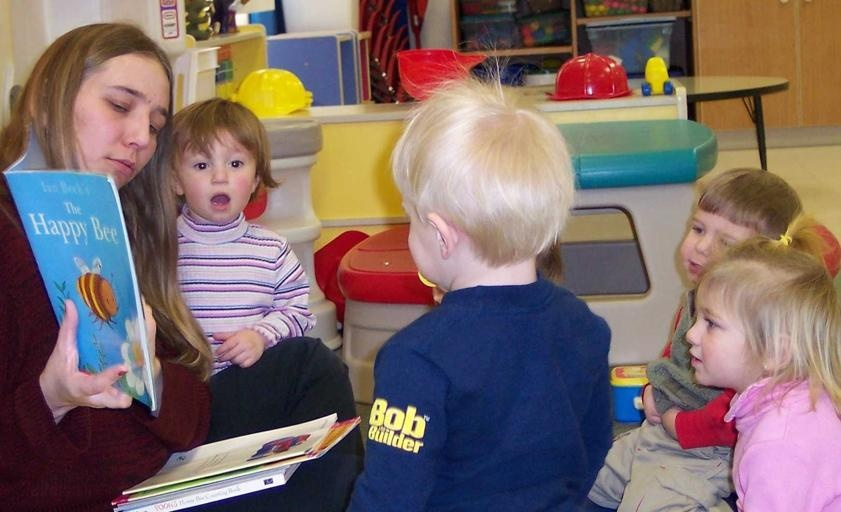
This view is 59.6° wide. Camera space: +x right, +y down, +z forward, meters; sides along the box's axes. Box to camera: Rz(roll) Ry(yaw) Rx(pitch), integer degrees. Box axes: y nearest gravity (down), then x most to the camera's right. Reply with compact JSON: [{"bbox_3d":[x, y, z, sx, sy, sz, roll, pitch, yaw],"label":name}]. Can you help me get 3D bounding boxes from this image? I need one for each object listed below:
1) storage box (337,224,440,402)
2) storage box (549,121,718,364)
[{"bbox_3d":[-0.053,0.255,2.556,0.417,0.427,0.505,-1,1,5],"label":"storage box"},{"bbox_3d":[0.695,-0.082,2.643,0.893,0.714,0.746,0,9,4],"label":"storage box"}]
